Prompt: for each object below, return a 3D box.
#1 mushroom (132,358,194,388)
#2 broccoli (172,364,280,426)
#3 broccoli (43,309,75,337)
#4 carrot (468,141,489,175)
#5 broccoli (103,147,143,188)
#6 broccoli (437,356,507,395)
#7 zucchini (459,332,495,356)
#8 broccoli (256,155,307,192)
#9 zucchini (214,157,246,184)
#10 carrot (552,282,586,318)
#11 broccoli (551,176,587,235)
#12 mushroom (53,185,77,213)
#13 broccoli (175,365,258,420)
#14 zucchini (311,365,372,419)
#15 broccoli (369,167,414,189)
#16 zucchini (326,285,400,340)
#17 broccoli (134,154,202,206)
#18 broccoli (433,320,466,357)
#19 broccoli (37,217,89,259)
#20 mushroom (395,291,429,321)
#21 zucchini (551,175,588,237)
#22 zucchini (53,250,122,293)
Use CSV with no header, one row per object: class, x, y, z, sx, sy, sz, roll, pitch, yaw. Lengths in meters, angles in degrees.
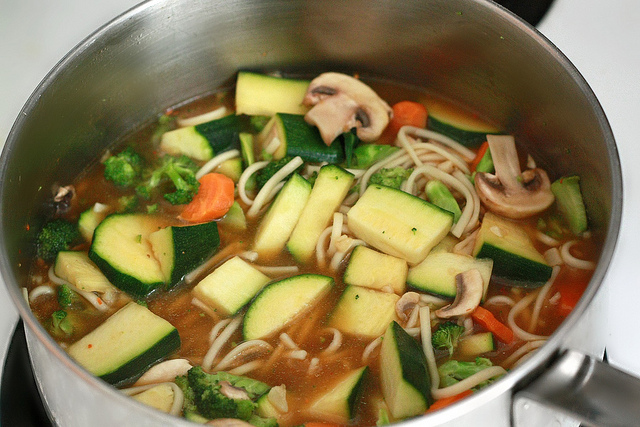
mushroom,-0.833,0.839,3.134,0.230,0.139,0.048,-30,102,-11
broccoli,-0.483,0.917,2.973,0.406,0.121,0.291,5,38,4
broccoli,-1.410,0.597,3.244,0.140,0.064,0.138,45,76,-2
carrot,1.024,-0.348,3.828,0.070,0.074,0.309,39,62,-26
broccoli,-1.232,-0.283,3.720,0.217,0.065,0.217,-20,76,-15
broccoli,0.778,0.836,3.114,0.219,0.172,0.055,-48,118,-45
zucchini,0.851,0.701,3.207,0.205,0.071,0.118,-5,88,12
broccoli,-0.246,-0.280,3.758,0.312,0.072,0.178,-38,39,-5
zucchini,-0.561,-0.306,3.797,0.176,0.047,0.189,32,99,11
carrot,1.414,0.456,3.346,0.207,0.049,0.196,-26,40,5
broccoli,1.468,-0.050,3.487,0.084,0.166,0.310,7,75,-46
mushroom,-1.561,-0.085,3.622,0.111,0.048,0.149,23,82,-28
broccoli,-0.531,0.928,2.986,0.291,0.234,0.098,17,50,-7
zucchini,0.151,0.944,3.030,0.369,0.145,0.184,-36,77,-11
broccoli,0.447,-0.228,3.698,0.196,0.047,0.133,-20,94,-21
zucchini,0.240,0.538,3.281,0.298,0.064,0.318,26,74,6
broccoli,-0.939,-0.217,3.711,0.367,0.117,0.292,-21,74,-16
broccoli,0.691,0.669,3.268,0.179,0.174,0.122,-22,57,-17
broccoli,-1.533,0.138,3.466,0.204,0.071,0.221,-3,49,-5
mushroom,0.506,0.483,3.256,0.135,0.045,0.171,26,85,-21
zucchini,1.464,-0.042,3.479,0.078,0.180,0.324,10,72,-38
zucchini,-1.349,0.323,3.362,0.317,0.072,0.237,36,46,6
